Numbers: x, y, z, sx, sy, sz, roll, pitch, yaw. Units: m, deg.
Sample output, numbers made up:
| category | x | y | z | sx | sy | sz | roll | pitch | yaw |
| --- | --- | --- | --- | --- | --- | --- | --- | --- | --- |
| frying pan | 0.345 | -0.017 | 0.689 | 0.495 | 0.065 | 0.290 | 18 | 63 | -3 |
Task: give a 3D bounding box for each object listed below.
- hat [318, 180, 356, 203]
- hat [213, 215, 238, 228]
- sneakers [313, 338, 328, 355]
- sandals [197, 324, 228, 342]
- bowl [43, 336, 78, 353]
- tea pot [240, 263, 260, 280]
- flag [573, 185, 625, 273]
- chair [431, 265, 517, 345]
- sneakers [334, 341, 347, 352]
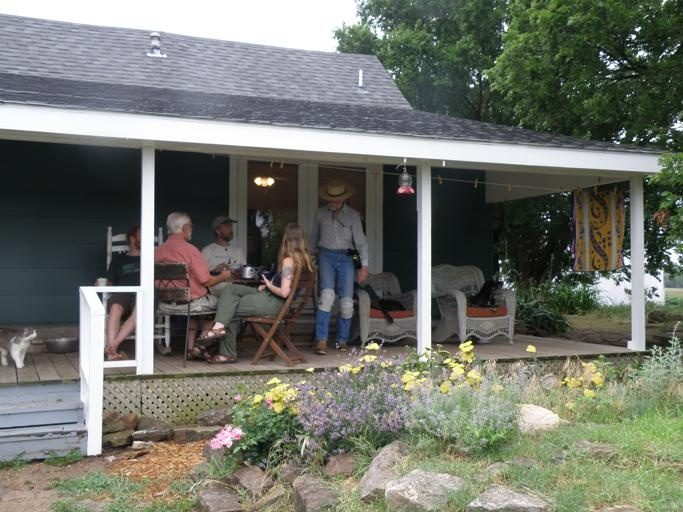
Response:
| category | x | y | z | sx | sy | sz | roll | pitch | yaw |
| --- | --- | --- | --- | --- | --- | --- | --- | --- | --- |
| hat | -0.070 | -0.867 | 9.347 | 0.326 | 0.105 | 0.346 | 25 | 43 | 33 |
| hat | -1.583 | -0.433 | 9.268 | 0.297 | 0.137 | 0.223 | -10 | -3 | 14 |
| sneakers | -0.265 | 1.172 | 8.947 | 0.142 | 0.183 | 0.443 | 2 | -6 | -5 |
| sandals | -1.474 | 0.901 | 7.942 | 0.280 | 0.137 | 0.150 | -15 | -10 | -14 |
| bowl | -3.419 | 1.094 | 8.573 | 0.241 | 0.105 | 0.248 | 0 | 0 | 0 |
| tea pot | -1.161 | 0.206 | 8.658 | 0.168 | 0.140 | 0.178 | 1 | -2 | 0 |
| flag | 3.756 | -0.387 | 10.263 | 0.313 | 1.264 | 0.793 | -2 | 0 | -43 |
| chair | 1.915 | 0.772 | 10.396 | 1.075 | 1.269 | 1.259 | 1 | -5 | -18 |
| sneakers | -0.006 | 1.190 | 9.104 | 0.159 | 0.171 | 0.083 | -2 | 9 | -7 |
